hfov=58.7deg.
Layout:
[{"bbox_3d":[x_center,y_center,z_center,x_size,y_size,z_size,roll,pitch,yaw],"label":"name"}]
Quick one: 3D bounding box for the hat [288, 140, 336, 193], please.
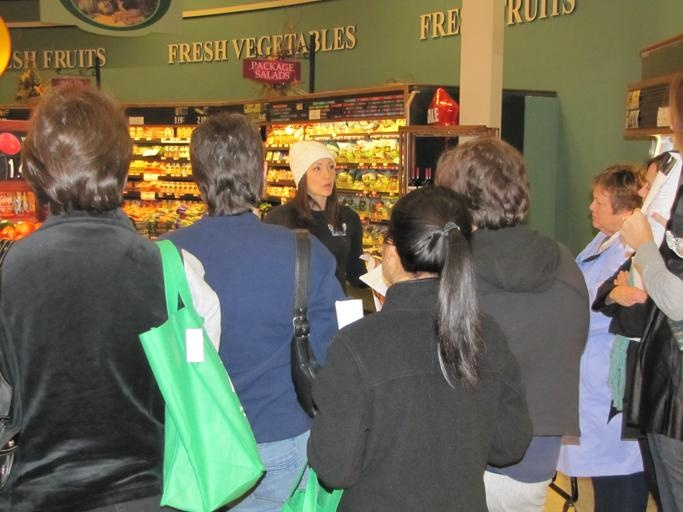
[{"bbox_3d":[-0.246,-0.622,4.131,0.318,0.339,0.252,12,15,35],"label":"hat"}]
